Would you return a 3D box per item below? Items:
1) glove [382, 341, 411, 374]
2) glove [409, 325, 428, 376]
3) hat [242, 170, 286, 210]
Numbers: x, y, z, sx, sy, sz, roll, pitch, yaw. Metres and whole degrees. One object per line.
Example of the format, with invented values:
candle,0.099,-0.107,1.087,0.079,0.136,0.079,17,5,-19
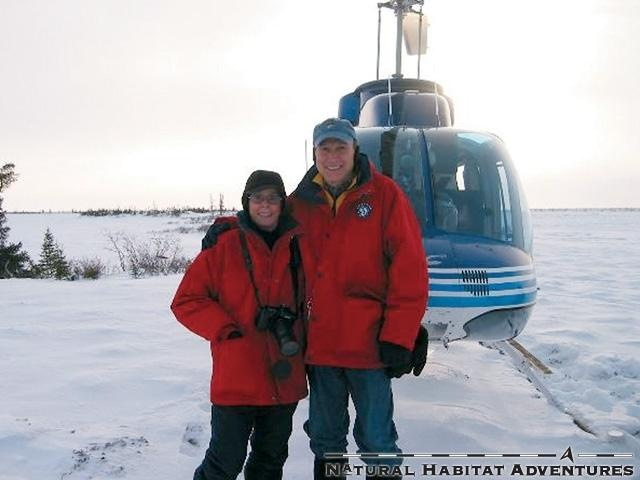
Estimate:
glove,0.759,1.194,5.697,0.342,0.376,0.177,-3,3,6
glove,1.018,1.125,5.815,0.297,0.432,0.142,-1,3,-30
hat,-0.565,-0.467,5.628,0.320,0.469,0.402,7,21,-10
